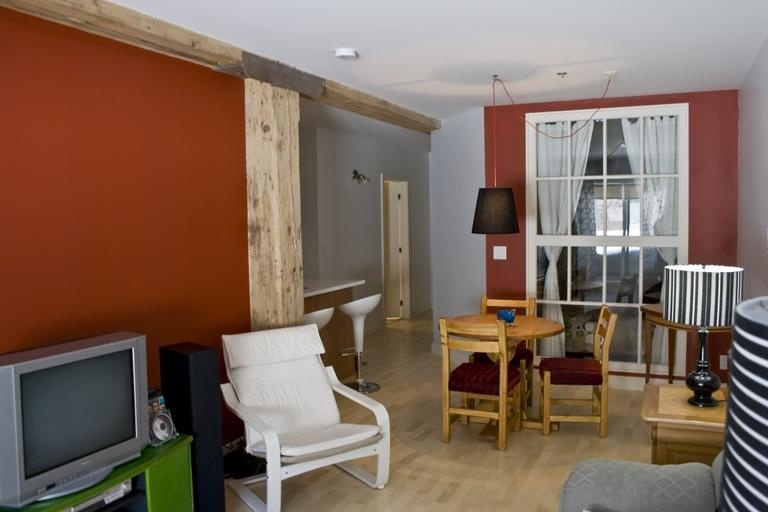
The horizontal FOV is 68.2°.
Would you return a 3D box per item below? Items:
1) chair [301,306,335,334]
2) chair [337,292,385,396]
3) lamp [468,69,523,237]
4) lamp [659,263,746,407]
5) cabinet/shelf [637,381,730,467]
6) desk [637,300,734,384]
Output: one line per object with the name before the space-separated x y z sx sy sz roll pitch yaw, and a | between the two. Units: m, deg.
chair | -0.654 0.622 5.682 0.238 0.152 0.229 0 -9 -23
chair | -0.277 0.941 6.107 0.489 0.983 0.514 6 -13 -32
lamp | 1.058 -0.964 5.382 0.441 1.505 0.417 -1 3 -6
lamp | 2.120 0.546 3.766 0.519 0.822 0.483 5 -7 -7
cabinet/shelf | 1.976 1.217 3.729 0.555 0.536 0.592 8 17 30
desk | 2.896 0.838 5.699 0.998 1.067 1.036 0 1 19
